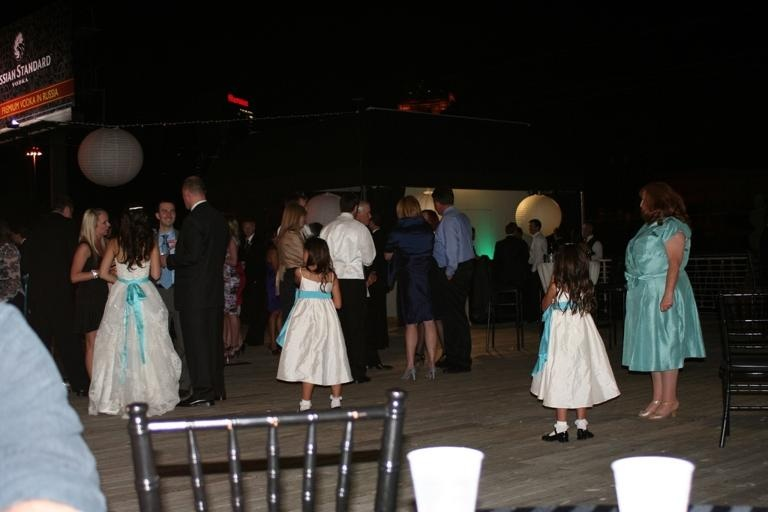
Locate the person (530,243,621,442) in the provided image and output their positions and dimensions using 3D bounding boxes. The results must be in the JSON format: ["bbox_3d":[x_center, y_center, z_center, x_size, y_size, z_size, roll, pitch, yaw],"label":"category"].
[{"bbox_3d":[1.494,0.673,4.811,0.620,1.544,0.308,0,-5,-11],"label":"person"}]

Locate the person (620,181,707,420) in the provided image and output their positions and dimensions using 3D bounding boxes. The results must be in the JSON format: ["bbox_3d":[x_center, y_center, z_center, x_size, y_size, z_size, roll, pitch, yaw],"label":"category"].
[{"bbox_3d":[2.423,0.372,5.300,0.638,2.086,0.457,-4,-6,27],"label":"person"}]

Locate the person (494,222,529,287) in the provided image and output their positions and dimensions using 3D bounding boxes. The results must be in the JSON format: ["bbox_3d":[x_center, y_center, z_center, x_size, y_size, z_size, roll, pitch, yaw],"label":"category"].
[{"bbox_3d":[2.305,0.073,10.936,0.641,0.961,0.383,-2,-5,4],"label":"person"}]

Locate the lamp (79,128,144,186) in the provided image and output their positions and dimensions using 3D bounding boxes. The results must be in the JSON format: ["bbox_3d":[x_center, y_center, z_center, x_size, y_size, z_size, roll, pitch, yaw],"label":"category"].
[{"bbox_3d":[-4.551,-1.580,10.148,0.954,0.946,0.927,3,-3,-10],"label":"lamp"}]

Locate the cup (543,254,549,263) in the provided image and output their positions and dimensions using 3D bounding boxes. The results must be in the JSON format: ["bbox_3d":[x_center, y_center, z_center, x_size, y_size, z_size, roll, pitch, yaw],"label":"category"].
[{"bbox_3d":[3.073,0.045,11.425,0.138,0.145,0.408,-7,3,10],"label":"cup"}]

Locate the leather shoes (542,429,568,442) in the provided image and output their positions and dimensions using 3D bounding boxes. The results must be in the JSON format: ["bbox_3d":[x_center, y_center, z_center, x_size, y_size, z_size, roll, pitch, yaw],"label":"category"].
[{"bbox_3d":[1.345,1.387,4.723,0.168,0.080,0.091,4,0,25],"label":"leather shoes"}]
